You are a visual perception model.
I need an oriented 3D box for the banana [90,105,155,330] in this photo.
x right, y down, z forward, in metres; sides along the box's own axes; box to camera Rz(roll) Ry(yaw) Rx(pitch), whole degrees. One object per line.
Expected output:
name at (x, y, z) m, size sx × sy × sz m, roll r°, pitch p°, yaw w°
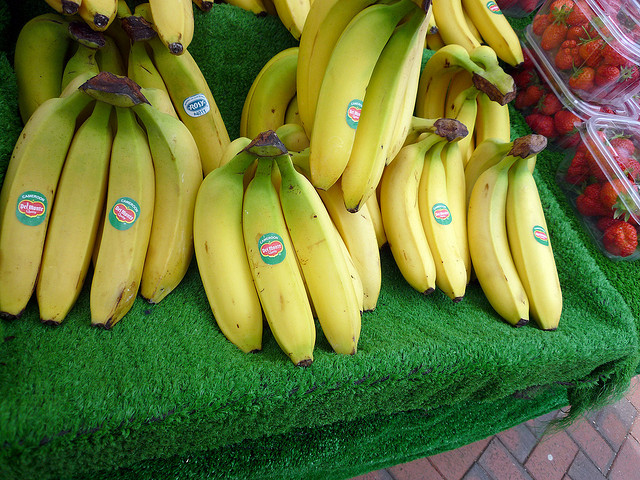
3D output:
banana at (-0.548, -0.034, 1.465) m, size 0.124 × 0.686 × 0.213 m, roll 2°, pitch 6°, yaw -4°

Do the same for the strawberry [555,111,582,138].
strawberry at (1.004, -0.476, 2.141) m, size 0.105 × 0.083 × 0.098 m, roll 50°, pitch 43°, yaw -20°

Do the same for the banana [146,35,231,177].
banana at (-0.415, -0.411, 1.616) m, size 0.099 × 0.461 × 0.146 m, roll -21°, pitch 23°, yaw -3°

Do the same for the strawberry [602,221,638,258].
strawberry at (1.130, 0.009, 1.971) m, size 0.071 × 0.090 × 0.135 m, roll 24°, pitch 66°, yaw -55°

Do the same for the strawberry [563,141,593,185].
strawberry at (1.040, -0.306, 2.127) m, size 0.073 × 0.134 × 0.097 m, roll 29°, pitch 34°, yaw 19°

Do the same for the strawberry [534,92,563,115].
strawberry at (0.941, -0.556, 2.151) m, size 0.079 × 0.081 × 0.078 m, roll -49°, pitch 121°, yaw -34°

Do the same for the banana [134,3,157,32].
banana at (-0.524, -0.666, 1.579) m, size 0.086 × 0.028 × 0.064 m, roll 64°, pitch 17°, yaw -4°

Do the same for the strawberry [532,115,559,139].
strawberry at (0.941, -0.471, 2.186) m, size 0.079 × 0.068 × 0.108 m, roll 42°, pitch 3°, yaw 41°

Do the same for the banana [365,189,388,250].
banana at (0.183, -0.064, 1.691) m, size 0.051 × 0.243 × 0.072 m, roll -13°, pitch 13°, yaw -28°

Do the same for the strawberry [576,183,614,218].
strawberry at (1.061, -0.144, 2.045) m, size 0.113 × 0.123 × 0.114 m, roll 47°, pitch 67°, yaw -10°

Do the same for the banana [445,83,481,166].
banana at (0.520, -0.418, 1.837) m, size 0.064 × 0.080 × 0.257 m, roll 25°, pitch 68°, yaw -26°

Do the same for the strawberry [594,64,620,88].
strawberry at (1.103, -0.630, 2.021) m, size 0.075 × 0.077 × 0.066 m, roll -4°, pitch 13°, yaw -26°

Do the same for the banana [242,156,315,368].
banana at (-0.089, 0.068, 1.518) m, size 0.151 × 0.188 × 0.652 m, roll -7°, pitch 89°, yaw -29°

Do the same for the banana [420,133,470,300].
banana at (0.413, -0.086, 1.690) m, size 0.137 × 0.177 × 0.589 m, roll -4°, pitch 85°, yaw -2°

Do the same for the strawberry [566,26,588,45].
strawberry at (1.002, -0.802, 2.048) m, size 0.058 × 0.067 × 0.059 m, roll -43°, pitch 101°, yaw -15°

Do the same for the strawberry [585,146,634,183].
strawberry at (1.106, -0.289, 2.003) m, size 0.136 × 0.115 × 0.091 m, roll 8°, pitch 69°, yaw 9°

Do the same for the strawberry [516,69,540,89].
strawberry at (0.865, -0.668, 2.185) m, size 0.069 × 0.077 × 0.074 m, roll -4°, pitch 14°, yaw -1°

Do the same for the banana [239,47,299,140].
banana at (-0.159, -0.476, 1.745) m, size 0.176 × 0.304 × 0.160 m, roll -1°, pitch 42°, yaw -23°

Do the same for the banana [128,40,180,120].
banana at (-0.500, -0.482, 1.568) m, size 0.271 × 0.063 × 0.087 m, roll 63°, pitch 11°, yaw 12°

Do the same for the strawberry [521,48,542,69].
strawberry at (0.875, -0.750, 2.169) m, size 0.046 × 0.072 × 0.088 m, roll -9°, pitch 24°, yaw 19°

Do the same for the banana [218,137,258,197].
banana at (-0.235, -0.222, 1.540) m, size 0.037 × 0.157 × 0.127 m, roll 14°, pitch -2°, yaw 30°

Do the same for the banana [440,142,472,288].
banana at (0.430, -0.068, 1.771) m, size 0.088 × 0.506 × 0.154 m, roll -7°, pitch 2°, yaw 4°

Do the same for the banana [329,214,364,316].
banana at (0.075, 0.066, 1.578) m, size 0.064 × 0.074 × 0.299 m, roll -15°, pitch 77°, yaw -35°

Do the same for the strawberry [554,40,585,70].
strawberry at (0.982, -0.725, 2.090) m, size 0.088 × 0.105 × 0.080 m, roll 59°, pitch 19°, yaw 13°

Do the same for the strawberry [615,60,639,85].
strawberry at (1.168, -0.630, 1.996) m, size 0.095 × 0.089 × 0.028 m, roll 10°, pitch 38°, yaw -12°

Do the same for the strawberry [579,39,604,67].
strawberry at (1.044, -0.719, 2.016) m, size 0.077 × 0.072 × 0.088 m, roll -20°, pitch 80°, yaw -47°

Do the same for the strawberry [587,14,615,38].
strawberry at (1.059, -0.796, 1.977) m, size 0.029 × 0.079 × 0.108 m, roll -10°, pitch 48°, yaw -31°

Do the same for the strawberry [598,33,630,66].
strawberry at (1.103, -0.718, 1.962) m, size 0.088 × 0.073 × 0.059 m, roll 26°, pitch -8°, yaw -9°

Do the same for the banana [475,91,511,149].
banana at (0.623, -0.432, 1.875) m, size 0.070 × 0.299 × 0.096 m, roll -3°, pitch 18°, yaw 5°
